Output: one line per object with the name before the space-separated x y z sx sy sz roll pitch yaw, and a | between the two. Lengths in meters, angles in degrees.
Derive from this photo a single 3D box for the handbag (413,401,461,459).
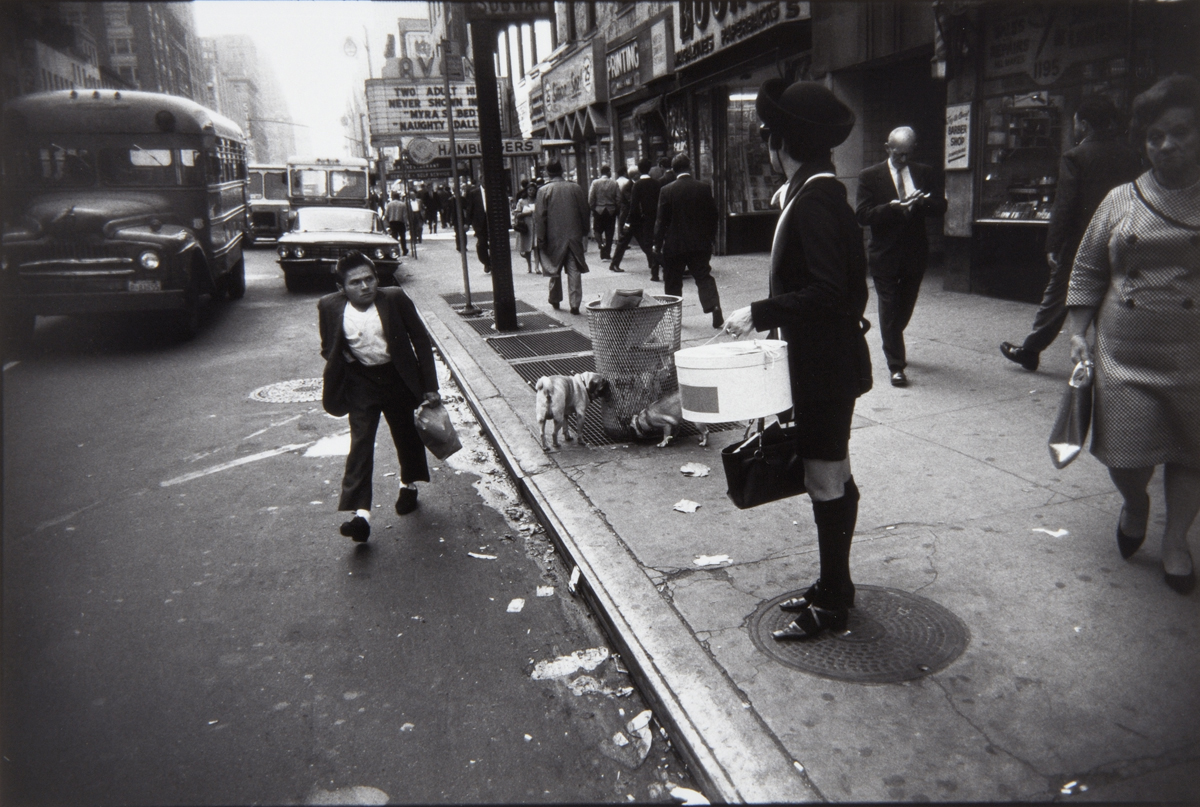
handbag | -1.293 0.214 6.817 0.202 0.408 0.332 -26 18 46

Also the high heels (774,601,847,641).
high heels | 1.163 1.191 4.815 0.430 0.188 0.174 -1 7 -4

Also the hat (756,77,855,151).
hat | 1.069 -1.651 4.660 0.403 0.195 0.496 12 25 -28

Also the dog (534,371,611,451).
dog | -0.251 0.036 7.569 0.326 0.599 0.767 4 10 34

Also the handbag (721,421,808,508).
handbag | 0.937 0.348 4.848 0.475 0.459 0.249 -22 20 -4

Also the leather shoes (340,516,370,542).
leather shoes | -1.760 0.900 6.262 0.072 0.145 0.141 -24 35 15

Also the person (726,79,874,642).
person | 1.135 -0.221 4.696 0.663 2.848 0.930 0 18 10

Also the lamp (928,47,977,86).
lamp | 5.047 -4.837 12.435 0.272 0.369 0.693 -7 20 -13

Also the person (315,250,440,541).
person | -1.686 -0.083 6.533 0.927 2.015 0.852 -17 23 -36

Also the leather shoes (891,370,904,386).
leather shoes | 2.908 -0.239 8.431 0.141 0.103 0.184 3 20 17

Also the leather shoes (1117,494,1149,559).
leather shoes | 3.159 0.731 5.226 0.137 0.436 0.181 12 13 32
